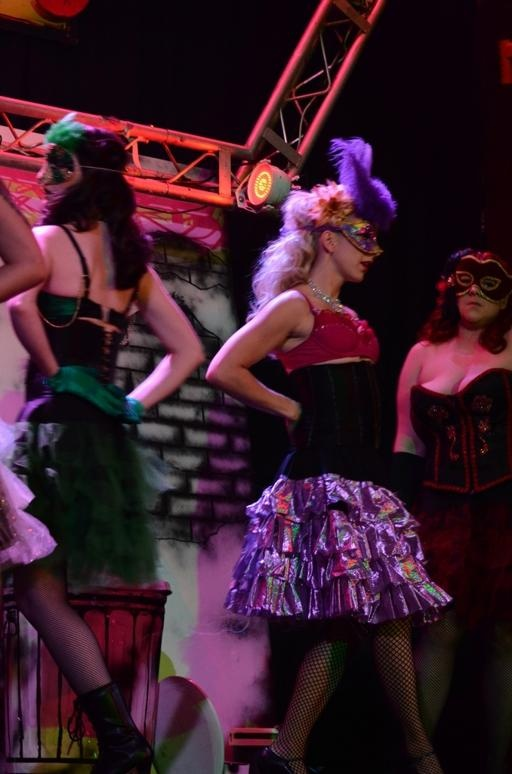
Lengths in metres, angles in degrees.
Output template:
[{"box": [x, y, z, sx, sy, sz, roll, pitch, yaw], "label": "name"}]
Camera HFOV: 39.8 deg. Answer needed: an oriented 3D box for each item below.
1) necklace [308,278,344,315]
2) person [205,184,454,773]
[{"box": [0.192, -0.241, 1.919, 0.109, 0.028, 0.077, 33, 7, 1], "label": "necklace"}, {"box": [0.167, 0.194, 1.814, 0.561, 1.364, 0.859, -3, 18, -4], "label": "person"}]
